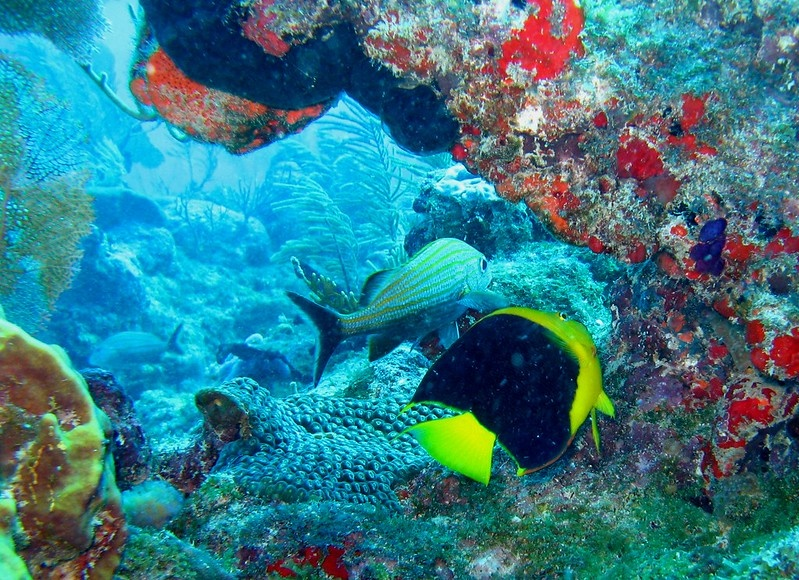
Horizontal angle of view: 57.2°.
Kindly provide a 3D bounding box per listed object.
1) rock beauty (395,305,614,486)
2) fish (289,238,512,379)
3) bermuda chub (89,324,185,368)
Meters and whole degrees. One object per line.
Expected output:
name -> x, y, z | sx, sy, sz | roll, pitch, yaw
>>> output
rock beauty -> 0.716, 0.696, 4.814 | 1.179, 1.121, 0.284 | 7, -14, 11
fish -> 0.046, 0.108, 5.922 | 1.908, 0.784, 1.208 | -21, 18, -29
bermuda chub -> -3.814, 0.821, 10.366 | 1.179, 0.587, 1.384 | -12, 15, -36
